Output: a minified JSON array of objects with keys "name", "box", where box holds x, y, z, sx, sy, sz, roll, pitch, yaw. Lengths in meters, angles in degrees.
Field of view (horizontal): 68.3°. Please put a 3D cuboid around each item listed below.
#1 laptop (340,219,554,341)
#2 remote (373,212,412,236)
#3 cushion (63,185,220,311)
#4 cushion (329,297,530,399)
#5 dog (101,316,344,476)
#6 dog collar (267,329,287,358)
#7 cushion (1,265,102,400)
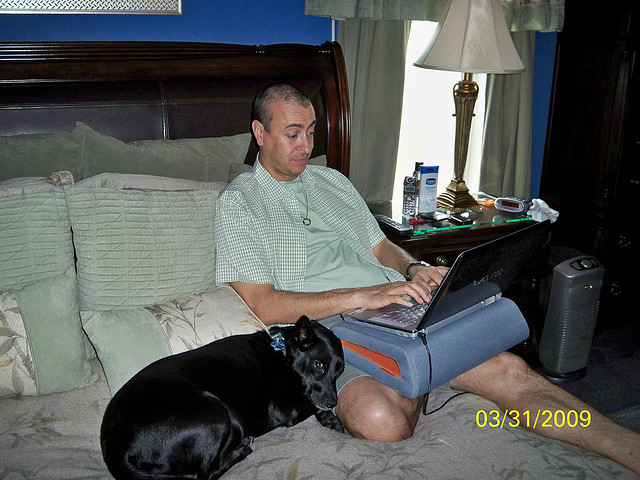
[{"name":"laptop","box":[0.502,0.136,1.718,0.588,0.314,0.500,-17,23,-37]},{"name":"remote","box":[0.405,-0.111,2.643,0.071,0.055,0.271,-10,27,-29]},{"name":"cushion","box":[-0.684,0.043,1.765,0.438,0.311,0.059,-5,-11,-37]},{"name":"cushion","box":[0.435,0.373,1.911,0.709,0.164,0.561,-12,9,-39]},{"name":"dog","box":[-0.319,0.426,1.602,0.679,0.352,0.418,-7,3,-29]},{"name":"dog collar","box":[-0.142,0.366,1.656,0.059,0.080,0.029,-8,-18,-10]},{"name":"cushion","box":[-0.940,0.327,1.641,0.335,0.305,0.183,-17,37,-18]}]
